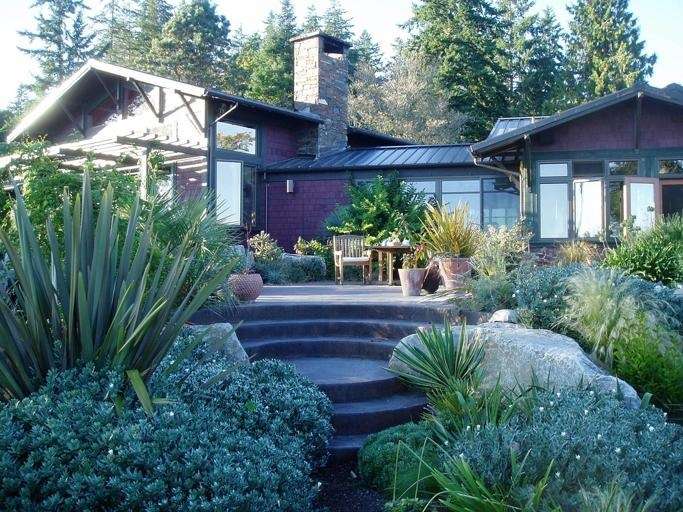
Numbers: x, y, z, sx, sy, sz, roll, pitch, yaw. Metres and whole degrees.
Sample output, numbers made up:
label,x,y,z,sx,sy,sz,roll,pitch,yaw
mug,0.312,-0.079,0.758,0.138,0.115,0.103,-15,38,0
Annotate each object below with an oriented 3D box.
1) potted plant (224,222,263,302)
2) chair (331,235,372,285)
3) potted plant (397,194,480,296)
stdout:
label,x,y,z,sx,sy,sz,roll,pitch,yaw
potted plant,-1.336,0.163,8.227,0.426,0.965,0.444,-6,5,-19
chair,0.272,0.063,12.398,0.716,1.161,0.738,-3,1,-24
potted plant,1.527,-0.052,9.957,1.153,1.816,1.605,5,-7,-41
